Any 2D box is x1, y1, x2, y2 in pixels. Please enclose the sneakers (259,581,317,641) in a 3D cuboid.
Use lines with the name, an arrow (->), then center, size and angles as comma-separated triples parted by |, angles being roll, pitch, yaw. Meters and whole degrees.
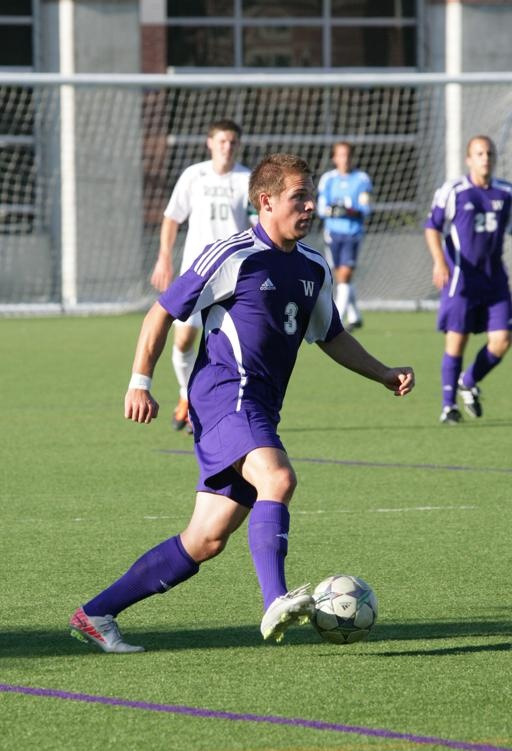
sneakers -> 0.079, 0.587, 2.741 | 0.118, 0.182, 0.212 | 5, 6, 4

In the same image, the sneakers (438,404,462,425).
sneakers -> 1.342, 0.278, 7.875 | 0.074, 0.090, 0.199 | 0, -7, -2

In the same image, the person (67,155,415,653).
person -> 0.007, 0.085, 3.167 | 0.703, 1.428, 0.901 | 8, 7, 29

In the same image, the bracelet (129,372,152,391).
bracelet -> -0.312, 0.019, 3.098 | 0.051, 0.040, 0.050 | 15, -3, 2

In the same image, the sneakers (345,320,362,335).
sneakers -> 1.221, -0.627, 14.225 | 0.178, 0.223, 0.529 | -2, -2, 11
